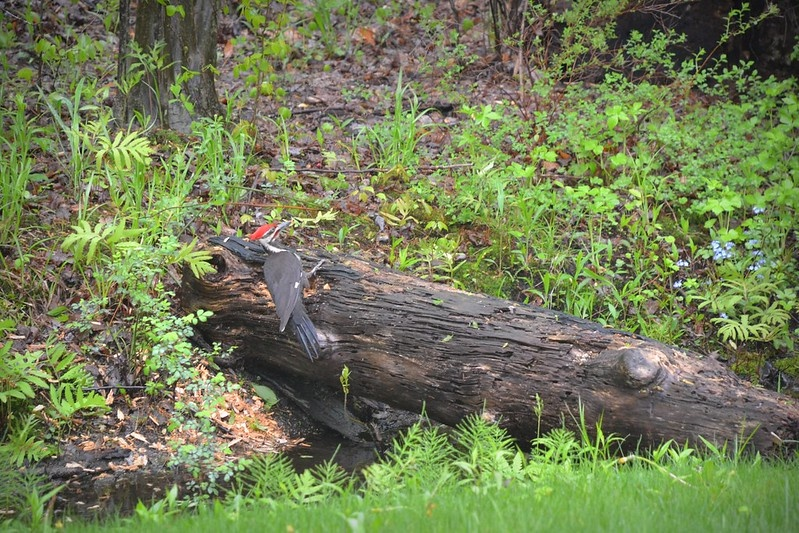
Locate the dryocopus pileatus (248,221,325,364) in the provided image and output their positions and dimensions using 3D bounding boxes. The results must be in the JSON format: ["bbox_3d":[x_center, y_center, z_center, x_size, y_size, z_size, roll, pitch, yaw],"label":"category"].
[{"bbox_3d":[-1.250,0.239,8.884,0.717,1.631,0.519,8,-27,-42],"label":"dryocopus pileatus"}]
